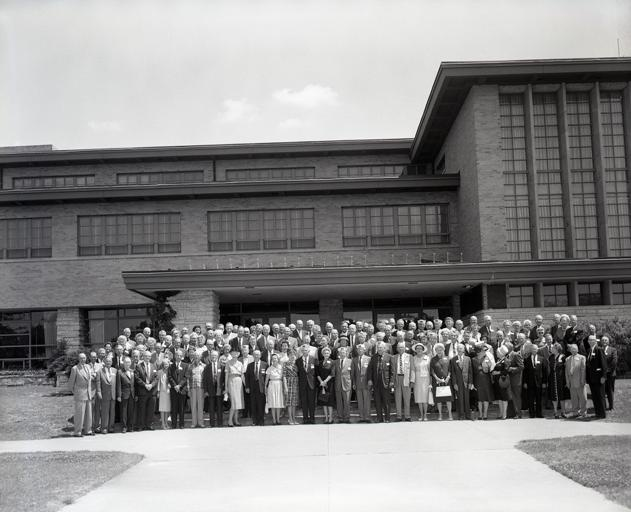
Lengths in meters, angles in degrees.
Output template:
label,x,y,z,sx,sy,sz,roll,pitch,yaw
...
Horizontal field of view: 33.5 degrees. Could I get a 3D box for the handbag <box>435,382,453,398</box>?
label,x,y,z,sx,sy,sz,roll,pitch,yaw
handbag,3.357,3.571,27.775,0.472,0.545,0.197,1,-3,10

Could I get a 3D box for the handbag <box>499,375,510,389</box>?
label,x,y,z,sx,sy,sz,roll,pitch,yaw
handbag,4.970,3.361,27.836,0.258,0.309,0.297,10,-48,1
